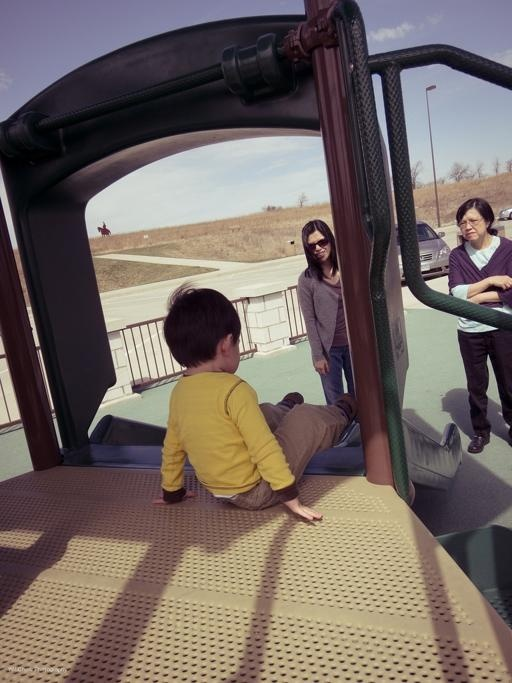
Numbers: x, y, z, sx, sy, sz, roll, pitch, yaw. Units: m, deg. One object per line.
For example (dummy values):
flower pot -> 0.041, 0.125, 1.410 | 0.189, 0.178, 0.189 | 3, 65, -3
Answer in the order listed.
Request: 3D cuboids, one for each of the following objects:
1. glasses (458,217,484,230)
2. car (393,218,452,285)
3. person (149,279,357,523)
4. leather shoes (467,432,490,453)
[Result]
glasses -> 1.516, -0.851, 3.131 | 0.109, 0.035, 0.112 | 6, 29, 40
car -> 5.277, -2.851, 13.325 | 0.736, 1.663, 2.019 | -8, 8, 23
person -> -0.018, 0.193, 1.914 | 0.719, 0.933, 0.713 | -4, 10, 44
leather shoes -> 1.805, 0.831, 3.616 | 0.094, 0.096, 0.259 | -6, 9, 37
